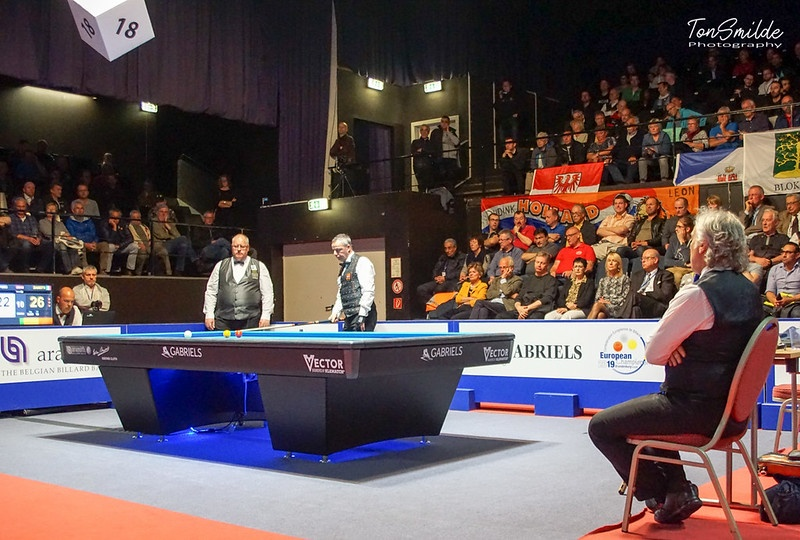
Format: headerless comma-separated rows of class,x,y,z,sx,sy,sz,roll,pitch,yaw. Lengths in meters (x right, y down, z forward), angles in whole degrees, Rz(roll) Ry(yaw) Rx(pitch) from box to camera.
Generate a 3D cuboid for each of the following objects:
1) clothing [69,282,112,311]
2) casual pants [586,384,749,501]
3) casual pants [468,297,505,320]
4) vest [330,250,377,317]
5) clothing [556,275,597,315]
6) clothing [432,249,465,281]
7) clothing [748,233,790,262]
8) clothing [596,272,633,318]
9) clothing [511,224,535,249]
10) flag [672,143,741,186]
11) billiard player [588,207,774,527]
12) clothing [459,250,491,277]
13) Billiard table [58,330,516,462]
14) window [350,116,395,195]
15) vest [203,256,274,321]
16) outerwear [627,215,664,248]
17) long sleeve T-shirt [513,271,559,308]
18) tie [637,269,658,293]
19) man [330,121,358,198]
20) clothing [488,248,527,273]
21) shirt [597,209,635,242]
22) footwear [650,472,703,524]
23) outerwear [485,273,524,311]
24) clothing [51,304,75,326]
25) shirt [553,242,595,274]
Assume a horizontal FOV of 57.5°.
clothing,-5.549,0.486,12.988,0.349,0.602,0.520,-5,-3,42
casual pants,2.158,1.410,5.850,0.924,1.159,0.897,-1,-1,43
casual pants,1.458,0.639,11.982,0.620,0.278,0.236,-12,3,-40
vest,-0.604,0.229,9.761,0.665,0.906,0.291,2,5,40
clothing,2.702,0.400,11.086,0.355,0.611,0.521,19,-13,-34
clothing,0.919,-0.064,14.454,0.505,0.630,0.613,0,-20,36
clothing,5.459,-0.324,10.736,0.290,0.482,0.513,23,-17,-37
clothing,2.997,0.394,10.552,0.436,0.654,0.684,3,0,43
clothing,2.352,-0.615,13.773,0.445,0.438,0.610,-1,4,10
flag,5.522,-1.840,13.061,1.123,0.624,0.162,0,4,21
billiard player,2.196,0.803,5.825,0.910,2.495,1.219,-2,3,-43
clothing,1.401,-0.147,13.762,0.901,0.474,0.571,2,5,43
Billiard table,-1.143,1.266,7.993,4.281,1.366,1.831,0,4,30
window,-0.676,-3.058,19.151,1.103,1.867,0.200,-7,29,-31
vest,-2.230,0.265,10.126,0.983,0.913,0.475,1,4,-3
outerwear,4.179,-0.633,12.351,0.334,0.568,0.546,21,-10,-30
long sleeve T-shirt,2.235,0.353,11.827,0.695,0.652,0.382,4,-12,39
tie,3.607,0.192,10.605,0.228,0.397,0.145,2,-10,41
man,-1.301,-2.463,16.530,0.583,1.642,0.685,-2,4,-5
clothing,1.915,-0.173,13.180,0.680,0.475,0.394,0,4,20
shirt,3.807,-0.766,12.743,0.360,0.603,0.529,36,-24,-31
footwear,2.109,1.813,5.627,0.202,0.231,0.491,-2,-33,-23
outerwear,1.771,0.393,12.327,0.421,0.674,0.571,0,-1,-43
clothing,-5.286,0.722,11.496,0.287,0.353,0.367,3,1,-30
shirt,2.877,-0.181,11.983,0.279,0.475,0.472,22,-5,-22
